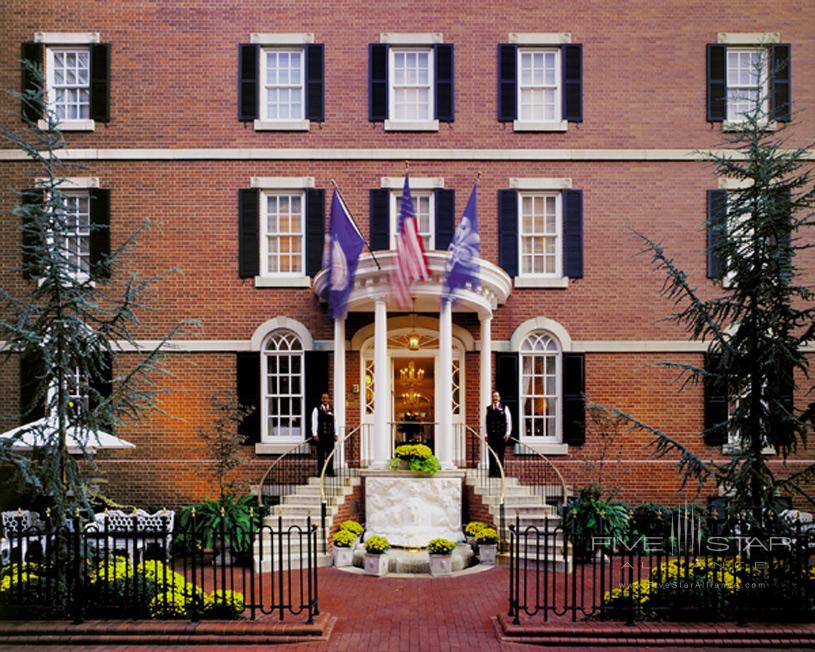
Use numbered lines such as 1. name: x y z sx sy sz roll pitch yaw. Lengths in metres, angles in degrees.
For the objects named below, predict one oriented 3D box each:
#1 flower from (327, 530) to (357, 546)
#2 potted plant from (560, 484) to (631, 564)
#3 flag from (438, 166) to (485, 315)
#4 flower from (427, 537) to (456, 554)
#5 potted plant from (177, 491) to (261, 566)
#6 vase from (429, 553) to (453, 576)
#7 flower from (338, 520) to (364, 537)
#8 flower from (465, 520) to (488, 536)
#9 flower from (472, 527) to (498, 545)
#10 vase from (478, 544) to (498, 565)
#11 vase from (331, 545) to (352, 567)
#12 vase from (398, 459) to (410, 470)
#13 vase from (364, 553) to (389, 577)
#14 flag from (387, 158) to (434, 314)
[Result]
1. flower: -1.509 5.106 39.262 0.551 0.409 0.466 -1 -8 -7
2. potted plant: 4.488 4.852 39.425 1.564 1.914 1.442 1 -3 7
3. flag: 1.350 -1.756 40.934 0.844 3.110 0.709 3 0 -1
4. flower: 0.780 5.187 38.454 0.585 0.402 0.706 -1 -8 -2
5. potted plant: -4.661 4.831 39.587 2.076 1.530 2.057 0 -1 -26
6. vase: 0.744 5.589 38.362 0.515 0.397 0.440 1 -6 -3
7. flower: -1.367 4.909 39.746 0.415 0.217 0.397 10 -3 -41
8. flower: 1.661 4.916 39.558 0.383 0.247 0.357 -1 1 -24
9. flower: 1.864 5.053 39.203 0.565 0.390 0.280 -3 -8 6
10. vase: 1.886 5.451 39.002 0.465 0.488 0.414 0 -11 3
11. vase: -1.565 5.508 39.099 0.413 0.408 0.419 1 -2 -14
12. vase: -0.125 3.436 40.414 0.326 0.332 0.182 0 -16 -3
13. vase: -0.747 5.621 38.454 0.500 0.523 0.516 -4 -9 23
14. flag: 0.036 -2.186 40.763 0.875 3.009 0.917 -1 -8 -2
